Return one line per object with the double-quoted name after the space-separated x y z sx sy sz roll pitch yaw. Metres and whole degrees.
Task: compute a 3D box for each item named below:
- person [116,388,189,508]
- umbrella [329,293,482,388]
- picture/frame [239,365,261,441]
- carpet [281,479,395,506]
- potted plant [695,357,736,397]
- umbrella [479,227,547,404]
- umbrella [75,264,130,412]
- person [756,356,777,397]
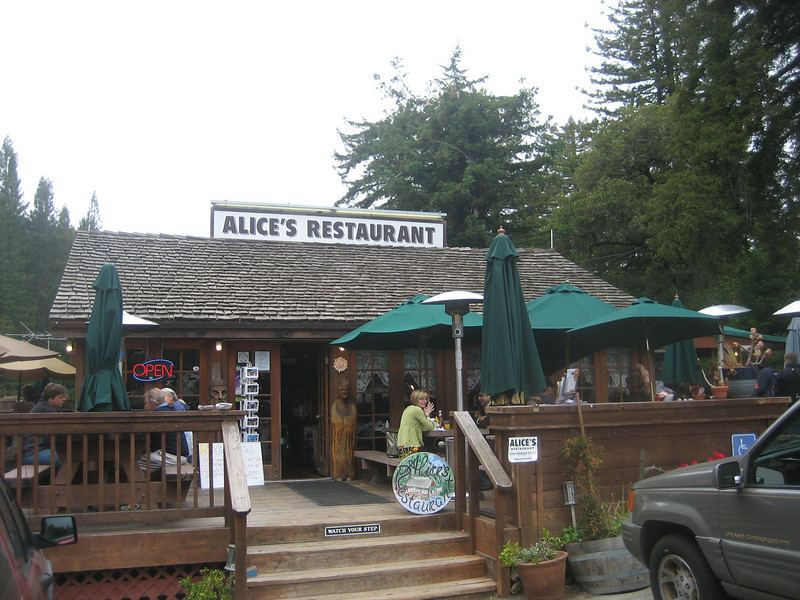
-3.201 2.028 10.805 1.039 1.644 0.613 1 -4 0 "person"
0.403 0.398 14.343 2.091 1.166 2.176 -8 4 9 "umbrella"
-3.012 2.029 15.734 0.427 1.578 0.732 -2 -4 -11 "picture/frame"
-1.125 3.353 13.669 1.246 0.049 3.310 -1 -6 -19 "carpet"
5.717 1.434 14.164 0.547 0.821 0.334 -7 -16 32 "potted plant"
1.521 0.238 10.935 0.828 2.411 0.637 -3 -4 1 "umbrella"
-4.086 0.487 10.847 0.599 2.077 0.745 -1 -4 -22 "umbrella"
6.811 1.469 14.634 0.322 0.612 2.298 -5 -6 25 "person"
